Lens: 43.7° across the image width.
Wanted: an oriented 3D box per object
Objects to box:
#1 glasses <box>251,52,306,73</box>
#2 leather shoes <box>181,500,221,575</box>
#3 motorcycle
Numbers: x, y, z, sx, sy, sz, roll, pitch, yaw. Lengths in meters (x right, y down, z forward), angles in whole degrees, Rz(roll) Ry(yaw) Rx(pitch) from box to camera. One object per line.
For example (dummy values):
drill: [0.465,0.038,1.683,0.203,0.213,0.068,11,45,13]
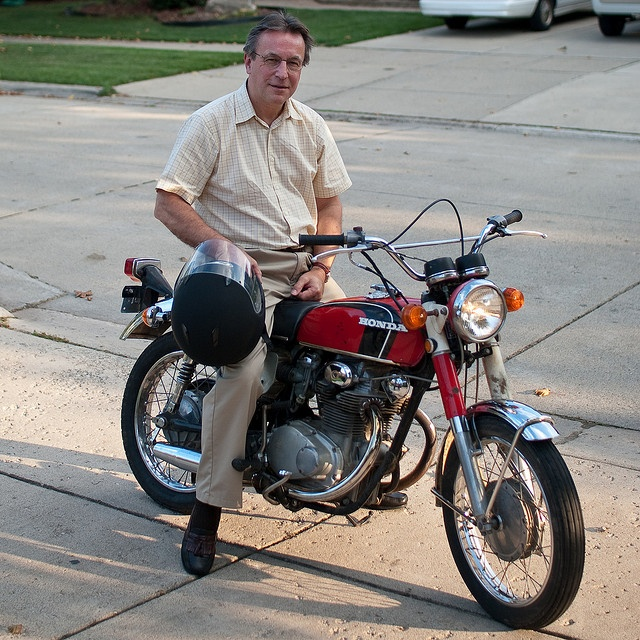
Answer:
glasses: [-0.139,-1.069,3.361,0.226,0.071,0.115,-5,13,-30]
leather shoes: [-0.460,0.865,3.174,0.127,0.277,0.121,12,-25,-10]
motorcycle: [0.041,0.316,3.054,2.015,1.416,0.772,8,15,30]
